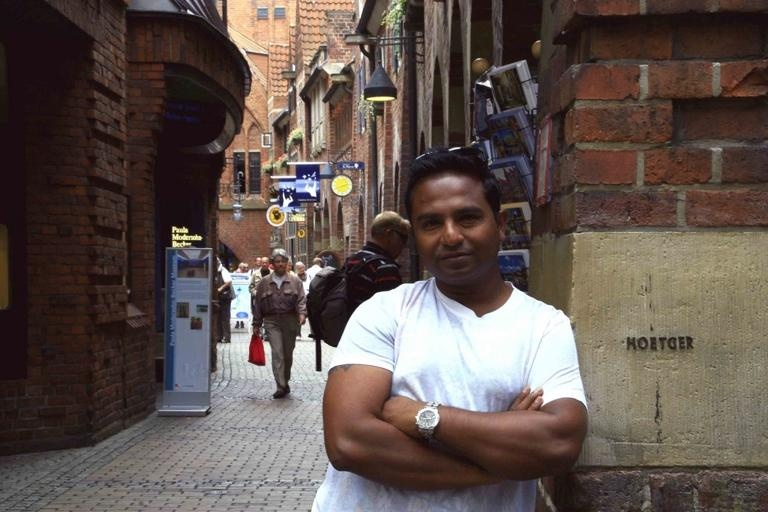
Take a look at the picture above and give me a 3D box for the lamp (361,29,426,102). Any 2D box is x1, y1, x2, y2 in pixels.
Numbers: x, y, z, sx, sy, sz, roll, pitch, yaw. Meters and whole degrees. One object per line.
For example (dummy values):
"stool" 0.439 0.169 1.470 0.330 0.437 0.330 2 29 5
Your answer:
"lamp" 0.201 -4.042 18.372 1.290 1.861 1.185 -4 -20 17

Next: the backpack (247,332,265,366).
"backpack" -2.065 1.491 13.475 0.220 0.579 0.774 0 -1 -10

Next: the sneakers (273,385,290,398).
"sneakers" -1.611 2.104 12.991 0.108 0.151 0.339 -1 -7 14
